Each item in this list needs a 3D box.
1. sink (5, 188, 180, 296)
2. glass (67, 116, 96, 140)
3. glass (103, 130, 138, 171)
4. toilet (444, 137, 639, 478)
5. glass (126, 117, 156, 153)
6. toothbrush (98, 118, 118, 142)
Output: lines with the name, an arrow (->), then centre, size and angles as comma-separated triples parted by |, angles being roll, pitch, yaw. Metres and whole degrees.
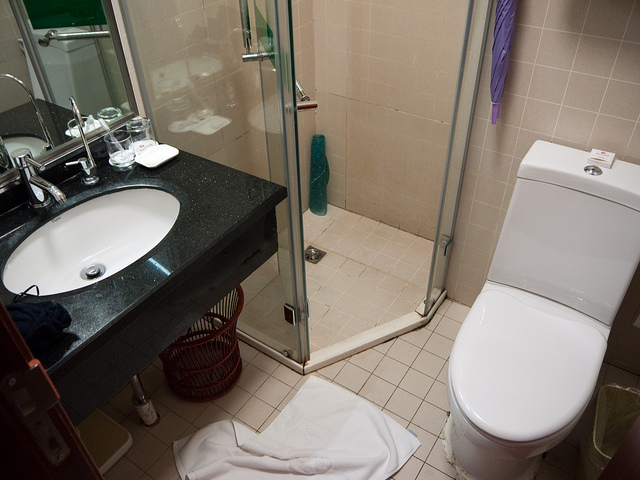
sink -> -0.720, -0.006, 1.508 | 0.540, 0.138, 0.237 | -28, 48, -29
glass -> -0.848, -0.404, 1.661 | 0.072, 0.060, 0.084 | -5, 59, -11
glass -> -0.718, -0.313, 1.678 | 0.104, 0.125, 0.111 | 0, 53, -1
toilet -> 0.827, 0.245, 1.701 | 0.438, 1.048, 0.967 | 18, 51, 23
glass -> -0.669, -0.389, 1.739 | 0.094, 0.112, 0.104 | 2, 40, 3
toothbrush -> -0.772, -0.396, 1.697 | 0.124, 0.024, 0.014 | 52, 25, 22
